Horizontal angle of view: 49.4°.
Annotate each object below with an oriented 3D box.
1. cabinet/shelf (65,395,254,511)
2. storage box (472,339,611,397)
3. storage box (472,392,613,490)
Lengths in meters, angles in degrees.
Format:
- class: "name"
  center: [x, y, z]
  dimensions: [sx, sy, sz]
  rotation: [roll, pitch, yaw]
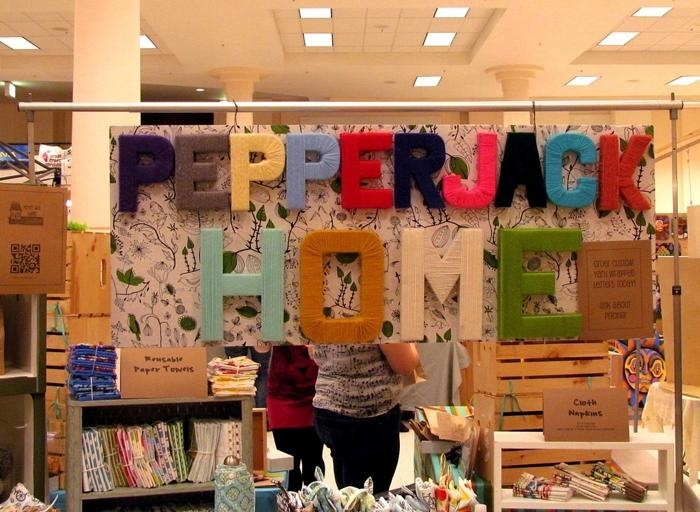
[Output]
- class: "cabinet/shelf"
  center: [-1.322, 1.341, 5.190]
  dimensions: [0.795, 0.795, 0.287]
  rotation: [0, -4, -10]
- class: "storage box"
  center: [1.397, 0.813, 5.591]
  dimensions: [0.977, 0.403, 0.553]
  rotation: [0, 1, 17]
- class: "storage box"
  center: [1.180, 1.412, 5.261]
  dimensions: [0.808, 0.534, 0.823]
  rotation: [0, -1, 2]
